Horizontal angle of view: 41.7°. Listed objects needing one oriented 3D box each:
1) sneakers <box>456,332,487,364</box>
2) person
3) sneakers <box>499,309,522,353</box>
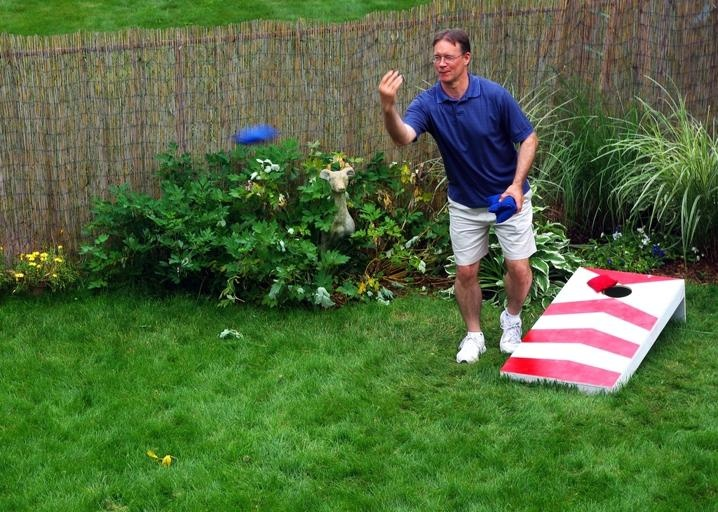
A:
[{"bbox_3d":[0.980,0.808,8.300,0.141,0.174,0.347,0,9,20],"label":"sneakers"},{"bbox_3d":[0.927,-0.482,8.079,1.194,2.835,0.693,1,10,4],"label":"person"},{"bbox_3d":[1.351,0.641,8.391,0.126,0.191,0.449,2,40,-2],"label":"sneakers"}]
